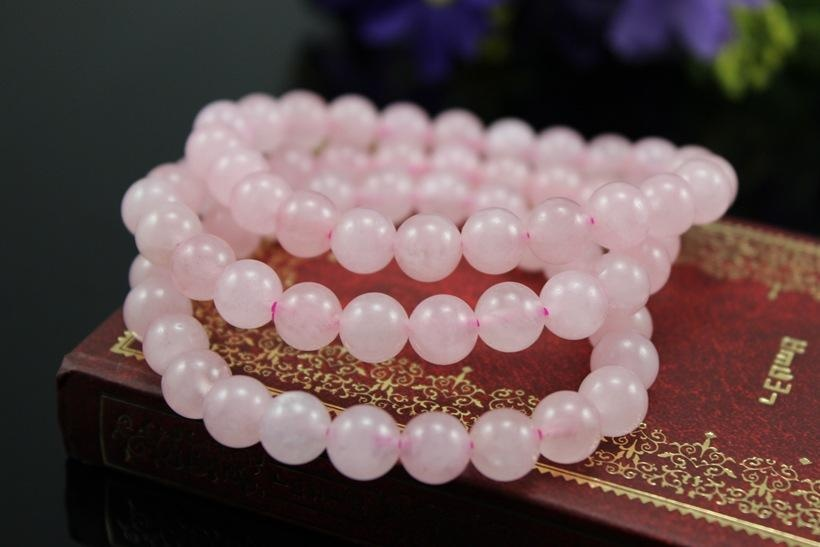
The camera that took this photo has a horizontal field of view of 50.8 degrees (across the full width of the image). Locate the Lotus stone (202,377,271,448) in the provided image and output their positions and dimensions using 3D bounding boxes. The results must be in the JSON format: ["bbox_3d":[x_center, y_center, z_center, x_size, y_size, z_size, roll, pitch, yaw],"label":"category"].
[{"bbox_3d":[-0.358,0.295,1.807,0.137,0.136,0.105,-3,42,-7],"label":"Lotus stone"}]

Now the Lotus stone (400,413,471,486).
[{"bbox_3d":[0.051,0.355,1.759,0.133,0.075,0.137,1,78,2],"label":"Lotus stone"}]

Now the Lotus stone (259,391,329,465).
[{"bbox_3d":[-0.231,0.311,1.826,0.136,0.137,0.161,1,92,5],"label":"Lotus stone"}]

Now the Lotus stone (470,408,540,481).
[{"bbox_3d":[0.191,0.342,1.735,0.133,0.075,0.137,1,77,3],"label":"Lotus stone"}]

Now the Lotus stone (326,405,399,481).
[{"bbox_3d":[-0.094,0.351,1.766,0.146,0.140,0.108,3,42,-1],"label":"Lotus stone"}]

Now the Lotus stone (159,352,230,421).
[{"bbox_3d":[-0.503,0.246,1.857,0.134,0.132,0.153,-3,78,-27],"label":"Lotus stone"}]
